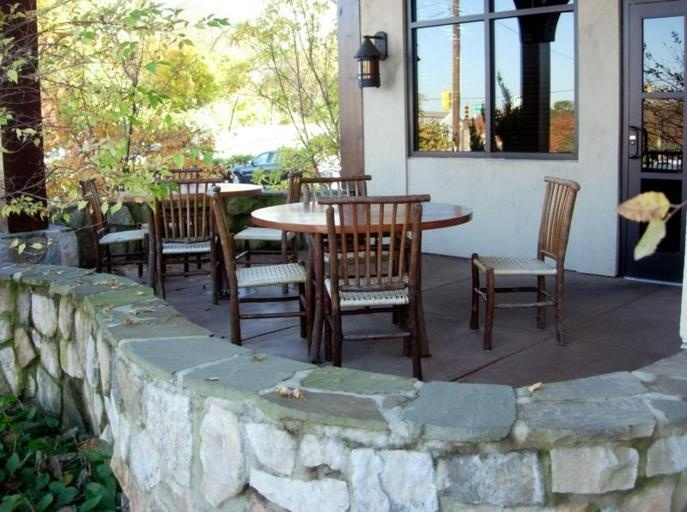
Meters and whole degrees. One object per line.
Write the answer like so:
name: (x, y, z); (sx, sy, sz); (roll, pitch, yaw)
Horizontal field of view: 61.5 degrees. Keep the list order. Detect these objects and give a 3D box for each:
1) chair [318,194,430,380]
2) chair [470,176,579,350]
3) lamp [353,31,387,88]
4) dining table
chair: (0.160, 0.141, 3.336); (0.660, 1.061, 0.750); (2, 10, 23)
chair: (1.113, 0.011, 3.634); (0.653, 0.981, 0.686); (3, 9, 24)
lamp: (0.304, -2.143, 6.220); (0.297, 0.600, 0.375); (5, 11, 23)
dining table: (0.117, 0.079, 4.063); (1.363, 0.957, 1.382); (-14, 23, -42)
